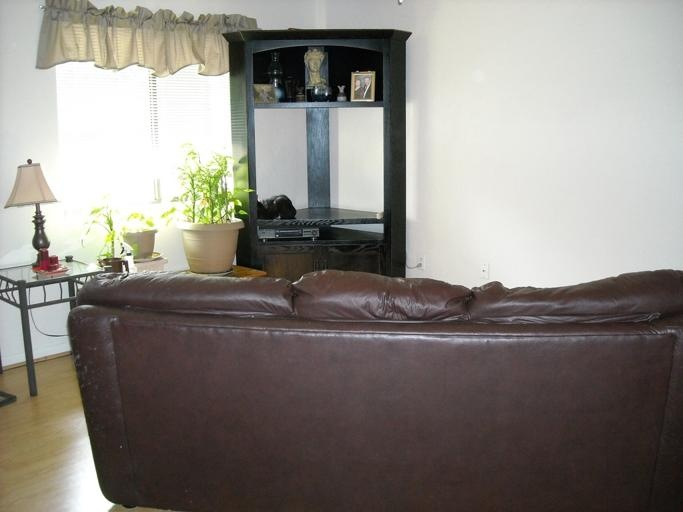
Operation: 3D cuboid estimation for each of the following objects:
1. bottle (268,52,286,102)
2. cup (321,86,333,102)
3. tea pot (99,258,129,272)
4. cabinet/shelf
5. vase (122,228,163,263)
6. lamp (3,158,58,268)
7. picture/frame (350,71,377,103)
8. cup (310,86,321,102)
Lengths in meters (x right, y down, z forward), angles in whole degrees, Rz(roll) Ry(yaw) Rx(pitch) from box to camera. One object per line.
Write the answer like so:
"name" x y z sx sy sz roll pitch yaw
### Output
"bottle" -0.519 -1.418 4.602 0.132 0.396 0.214 -4 11 -12
"cup" -0.086 -1.291 4.656 0.130 0.130 0.132 1 13 0
"tea pot" -1.488 0.059 3.770 0.122 0.089 0.124 -1 1 0
"cabinet/shelf" -0.203 -0.794 4.489 1.845 2.437 0.804 -1 12 0
"vase" -1.418 -0.084 4.109 0.202 0.233 0.239 3 6 18
"lamp" -1.955 -0.273 3.619 0.271 0.640 0.312 -11 15 -42
"picture/frame" 0.175 -1.314 4.548 0.275 0.349 0.038 2 7 4
"cup" -0.197 -1.284 4.603 0.090 0.118 0.043 3 12 19
